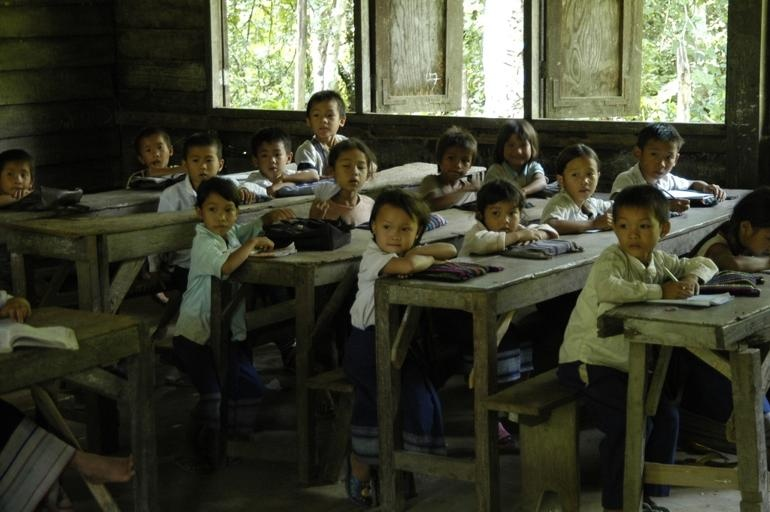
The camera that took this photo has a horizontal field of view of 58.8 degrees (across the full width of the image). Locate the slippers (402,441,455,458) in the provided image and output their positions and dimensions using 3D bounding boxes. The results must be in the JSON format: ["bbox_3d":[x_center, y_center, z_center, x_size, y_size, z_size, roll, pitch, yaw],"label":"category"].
[{"bbox_3d":[0.214,0.994,3.489,0.211,0.049,0.155,0,-4,9],"label":"slippers"}]

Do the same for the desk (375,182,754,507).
[{"bbox_3d":[0.891,0.487,3.452,0.479,0.850,1.828,3,8,37],"label":"desk"}]

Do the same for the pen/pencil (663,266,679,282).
[{"bbox_3d":[1.391,0.085,3.329,0.014,0.083,0.022,-43,-14,23],"label":"pen/pencil"}]

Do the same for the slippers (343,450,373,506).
[{"bbox_3d":[-0.133,1.210,3.689,0.138,0.280,0.114,-10,2,-21],"label":"slippers"}]
